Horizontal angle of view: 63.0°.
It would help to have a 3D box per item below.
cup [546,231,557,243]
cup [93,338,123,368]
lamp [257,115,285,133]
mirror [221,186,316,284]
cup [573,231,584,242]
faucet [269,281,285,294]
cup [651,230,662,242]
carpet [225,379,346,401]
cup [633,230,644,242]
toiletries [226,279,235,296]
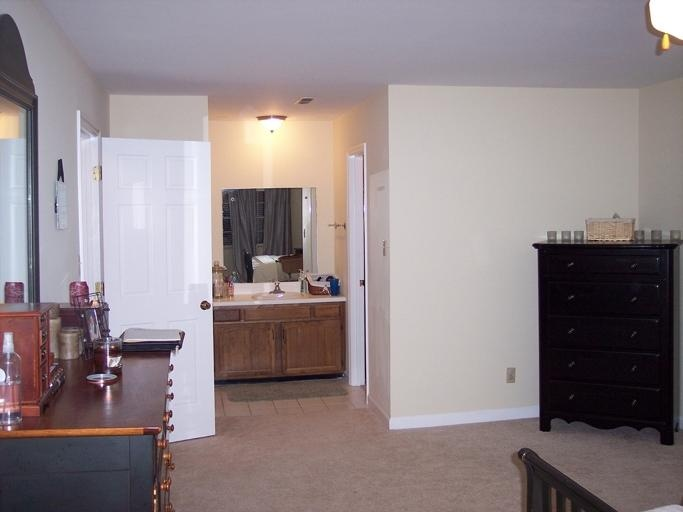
[{"bbox_3d":[1.889,-0.180,5.014,0.085,0.097,0.088,0,0,0],"label":"cup"},{"bbox_3d":[-1.190,0.511,2.831,0.139,0.157,0.133,-2,-3,0],"label":"cup"},{"bbox_3d":[-0.777,-1.502,6.240,0.280,0.149,0.223,3,6,33],"label":"lamp"},{"bbox_3d":[-0.862,-0.247,6.761,1.152,1.282,0.020,-3,-15,-6],"label":"mirror"},{"bbox_3d":[2.122,-0.176,4.997,0.088,0.099,0.091,1,4,0],"label":"cup"},{"bbox_3d":[-0.773,0.375,6.717,0.145,0.115,0.151,0,-3,1],"label":"faucet"},{"bbox_3d":[2.740,-0.181,4.862,0.091,0.097,0.093,-1,2,0],"label":"cup"},{"bbox_3d":[-0.592,1.463,6.109,1.352,0.032,0.713,-1,5,-10],"label":"carpet"},{"bbox_3d":[2.605,-0.184,4.855,0.080,0.123,0.085,-1,1,0],"label":"cup"},{"bbox_3d":[-1.322,0.356,6.583,0.093,0.216,0.245,-1,5,-11],"label":"toiletries"}]
